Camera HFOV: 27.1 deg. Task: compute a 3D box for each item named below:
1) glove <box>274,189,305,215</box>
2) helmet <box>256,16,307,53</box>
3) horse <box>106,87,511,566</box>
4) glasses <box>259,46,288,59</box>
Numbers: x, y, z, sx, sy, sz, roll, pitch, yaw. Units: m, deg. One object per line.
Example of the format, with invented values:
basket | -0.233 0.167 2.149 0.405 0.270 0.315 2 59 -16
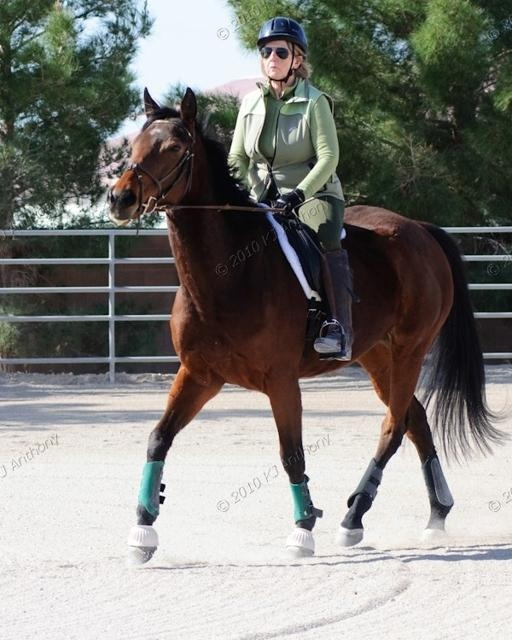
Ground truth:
glove | 0.165 -0.574 5.135 0.161 0.088 0.064 -33 1 -18
helmet | 0.160 -1.496 5.496 0.177 0.108 0.233 0 -16 21
horse | 0.322 0.201 5.751 0.895 2.106 3.375 -8 -10 39
glasses | 0.087 -1.382 5.456 0.076 0.075 0.180 -8 9 -38
